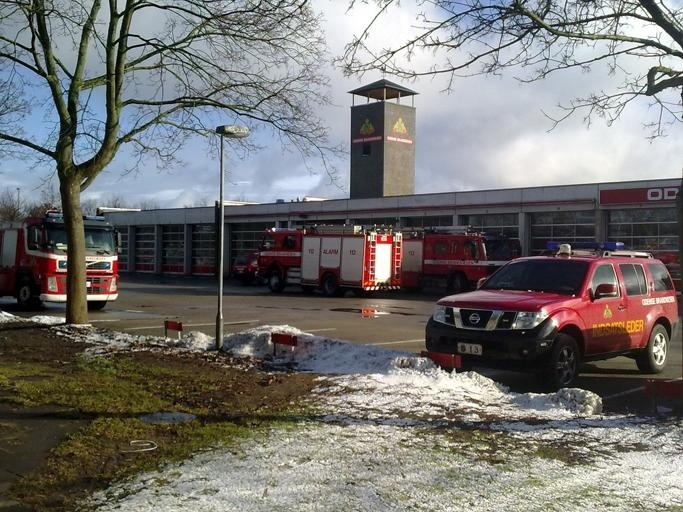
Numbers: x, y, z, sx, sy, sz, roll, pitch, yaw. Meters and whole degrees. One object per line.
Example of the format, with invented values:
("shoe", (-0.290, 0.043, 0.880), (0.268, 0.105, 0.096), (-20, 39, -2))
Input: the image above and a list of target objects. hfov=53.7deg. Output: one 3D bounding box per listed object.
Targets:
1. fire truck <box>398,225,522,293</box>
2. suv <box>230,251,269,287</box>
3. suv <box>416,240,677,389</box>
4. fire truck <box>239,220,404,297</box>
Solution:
("fire truck", (4.879, 0.228, 32.219), (2.683, 3.214, 7.099), (0, 0, -35))
("suv", (-4.879, 0.746, 40.670), (1.585, 1.704, 3.092), (3, 0, 41))
("suv", (3.645, 1.036, 11.397), (3.813, 1.673, 2.178), (7, -9, -40))
("fire truck", (-0.896, 0.261, 32.206), (7.350, 3.436, 2.619), (3, 0, 42))
